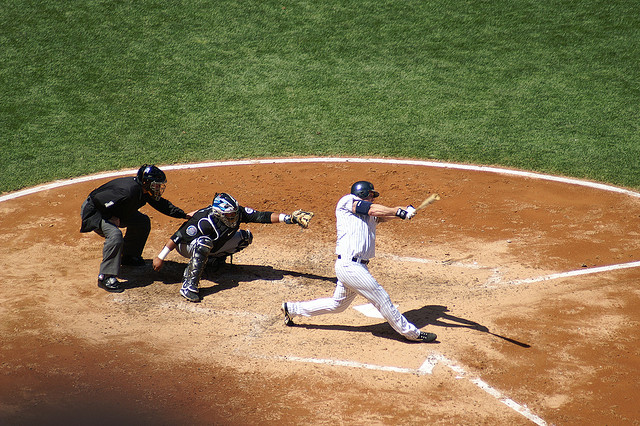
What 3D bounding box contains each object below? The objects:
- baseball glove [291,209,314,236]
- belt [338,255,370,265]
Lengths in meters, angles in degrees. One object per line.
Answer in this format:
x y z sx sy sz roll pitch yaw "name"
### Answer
-0.381 0.114 14.477 0.261 0.533 0.239 15 88 -13 "baseball glove"
0.546 0.841 13.633 0.510 0.181 0.098 10 63 7 "belt"
